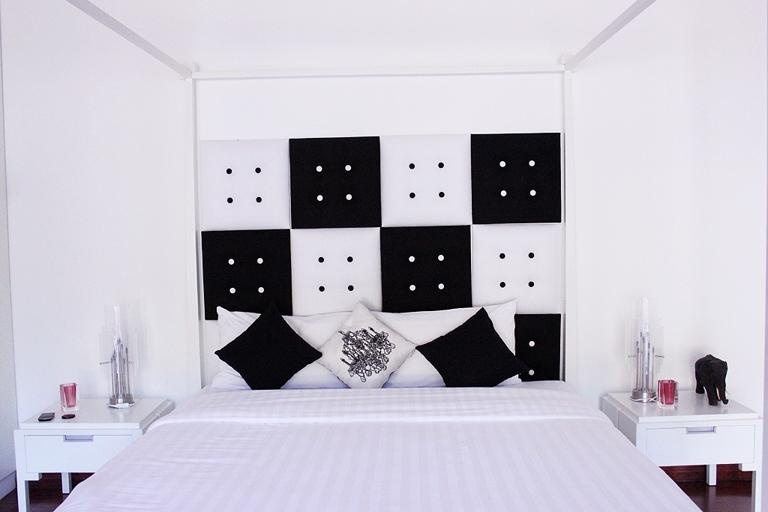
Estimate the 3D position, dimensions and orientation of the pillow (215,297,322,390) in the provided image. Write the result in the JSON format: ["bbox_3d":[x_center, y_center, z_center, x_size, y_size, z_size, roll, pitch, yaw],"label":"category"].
[{"bbox_3d":[-0.844,0.688,4.377,0.553,0.553,0.129,-40,-14,-15],"label":"pillow"}]

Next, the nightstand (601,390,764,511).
[{"bbox_3d":[2.242,1.291,4.603,1.004,0.838,0.776,-1,-3,3],"label":"nightstand"}]

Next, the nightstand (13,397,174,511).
[{"bbox_3d":[-2.184,1.387,4.582,0.763,0.649,0.860,0,-3,-2],"label":"nightstand"}]
